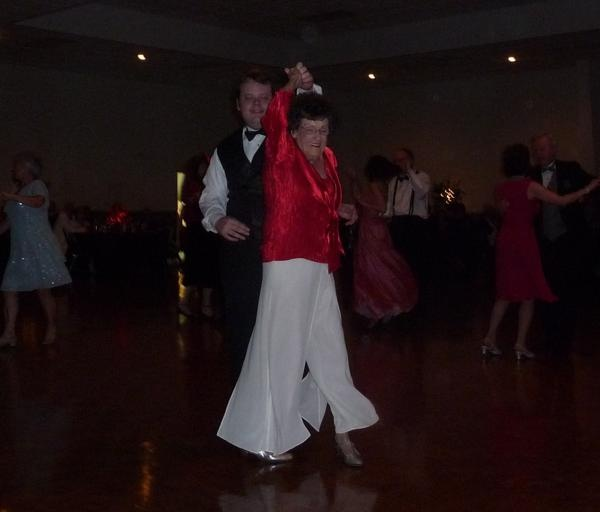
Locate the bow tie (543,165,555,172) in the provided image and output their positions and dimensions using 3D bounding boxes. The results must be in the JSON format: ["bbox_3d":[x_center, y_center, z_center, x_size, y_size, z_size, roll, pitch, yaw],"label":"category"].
[{"bbox_3d":[2.131,-0.749,4.241,0.054,0.047,0.056,-1,-5,17],"label":"bow tie"}]

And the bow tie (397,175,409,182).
[{"bbox_3d":[1.273,-0.955,6.109,0.076,0.030,0.077,-18,29,-28],"label":"bow tie"}]

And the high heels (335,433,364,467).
[{"bbox_3d":[0.191,0.791,2.053,0.058,0.085,0.178,-5,2,-24],"label":"high heels"}]

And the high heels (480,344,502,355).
[{"bbox_3d":[1.583,0.770,4.114,0.175,0.077,0.066,1,2,-16],"label":"high heels"}]

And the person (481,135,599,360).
[{"bbox_3d":[1.875,-0.038,4.102,0.666,1.772,0.695,3,6,24],"label":"person"}]

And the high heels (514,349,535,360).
[{"bbox_3d":[1.792,0.772,3.965,0.135,0.061,0.080,3,1,-3],"label":"high heels"}]

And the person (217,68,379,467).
[{"bbox_3d":[-0.106,0.088,2.135,0.603,1.943,0.547,-4,-7,-7],"label":"person"}]
